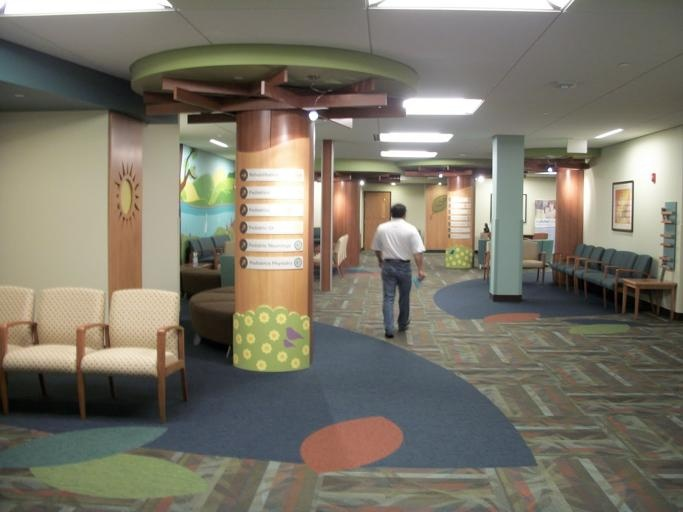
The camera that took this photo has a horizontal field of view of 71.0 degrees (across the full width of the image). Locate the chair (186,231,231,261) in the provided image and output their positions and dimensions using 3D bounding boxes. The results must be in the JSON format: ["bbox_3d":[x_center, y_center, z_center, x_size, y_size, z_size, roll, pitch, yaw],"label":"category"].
[{"bbox_3d":[-3.682,-0.226,12.945,0.646,0.620,2.043,0,4,-2],"label":"chair"}]

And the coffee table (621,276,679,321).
[{"bbox_3d":[5.624,0.733,8.915,0.781,0.711,0.781,1,4,2],"label":"coffee table"}]

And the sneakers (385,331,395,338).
[{"bbox_3d":[0.722,1.187,7.297,0.122,0.087,0.121,0,4,5],"label":"sneakers"}]

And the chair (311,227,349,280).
[{"bbox_3d":[-0.194,-0.076,13.837,1.176,1.275,1.025,0,2,13],"label":"chair"}]

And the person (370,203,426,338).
[{"bbox_3d":[0.848,0.208,7.403,0.766,2.024,0.497,0,4,4],"label":"person"}]
